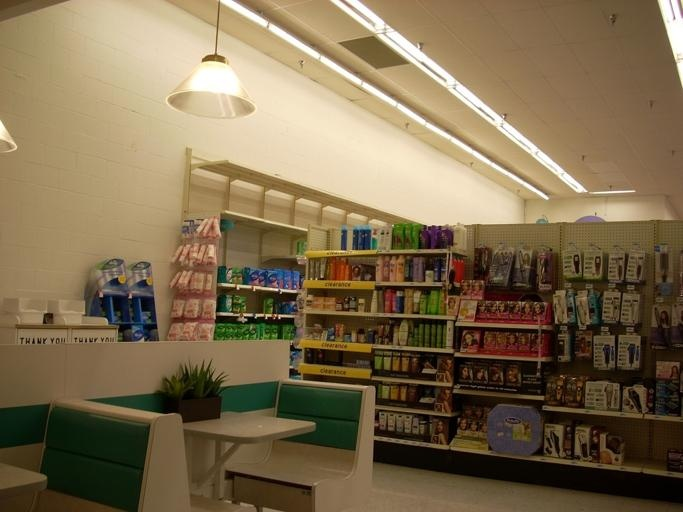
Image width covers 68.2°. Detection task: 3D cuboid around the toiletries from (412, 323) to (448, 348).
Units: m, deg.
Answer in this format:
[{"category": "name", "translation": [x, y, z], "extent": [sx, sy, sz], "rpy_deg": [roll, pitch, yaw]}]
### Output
[{"category": "toiletries", "translation": [1.081, 0.966, 6.094], "extent": [0.313, 0.278, 0.141], "rpy_deg": [-3, -14, 26]}]

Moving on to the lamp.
[{"category": "lamp", "translation": [-1.020, -1.493, 4.359], "extent": [0.677, 1.002, 0.625], "rpy_deg": [2, -17, -5]}]

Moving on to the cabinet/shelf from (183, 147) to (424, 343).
[{"category": "cabinet/shelf", "translation": [-0.703, -0.126, 7.358], "extent": [0.599, 2.042, 3.674], "rpy_deg": [-6, -8, 43]}]

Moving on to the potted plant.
[{"category": "potted plant", "translation": [-1.020, 0.948, 3.625], "extent": [0.366, 0.427, 0.537], "rpy_deg": [-3, -6, 44]}]
